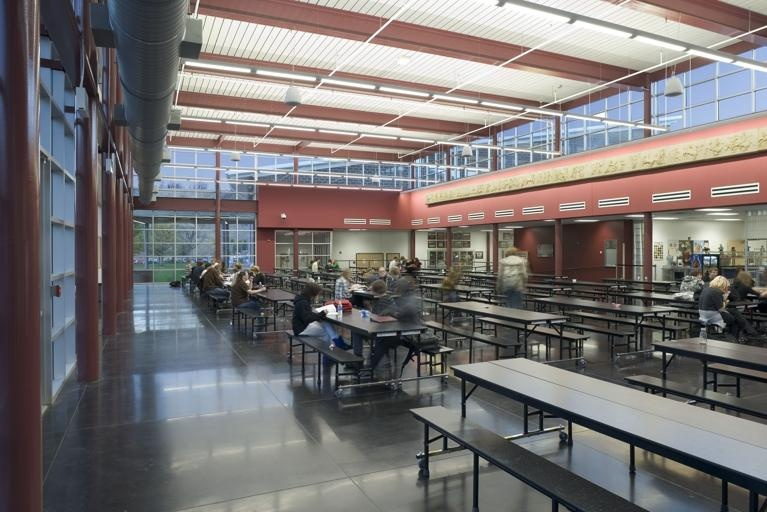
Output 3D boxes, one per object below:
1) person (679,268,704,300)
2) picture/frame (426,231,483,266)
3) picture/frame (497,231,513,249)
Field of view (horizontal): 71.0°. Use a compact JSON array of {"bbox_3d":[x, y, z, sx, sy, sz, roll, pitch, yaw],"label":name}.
[{"bbox_3d":[8.085,0.747,14.170,0.626,0.787,0.786,5,-2,-3],"label":"person"},{"bbox_3d":[4.470,-0.474,35.498,3.088,2.172,0.950,1,2,-5],"label":"picture/frame"},{"bbox_3d":[6.974,-0.929,30.970,0.190,1.359,1.698,5,-7,-20],"label":"picture/frame"}]
